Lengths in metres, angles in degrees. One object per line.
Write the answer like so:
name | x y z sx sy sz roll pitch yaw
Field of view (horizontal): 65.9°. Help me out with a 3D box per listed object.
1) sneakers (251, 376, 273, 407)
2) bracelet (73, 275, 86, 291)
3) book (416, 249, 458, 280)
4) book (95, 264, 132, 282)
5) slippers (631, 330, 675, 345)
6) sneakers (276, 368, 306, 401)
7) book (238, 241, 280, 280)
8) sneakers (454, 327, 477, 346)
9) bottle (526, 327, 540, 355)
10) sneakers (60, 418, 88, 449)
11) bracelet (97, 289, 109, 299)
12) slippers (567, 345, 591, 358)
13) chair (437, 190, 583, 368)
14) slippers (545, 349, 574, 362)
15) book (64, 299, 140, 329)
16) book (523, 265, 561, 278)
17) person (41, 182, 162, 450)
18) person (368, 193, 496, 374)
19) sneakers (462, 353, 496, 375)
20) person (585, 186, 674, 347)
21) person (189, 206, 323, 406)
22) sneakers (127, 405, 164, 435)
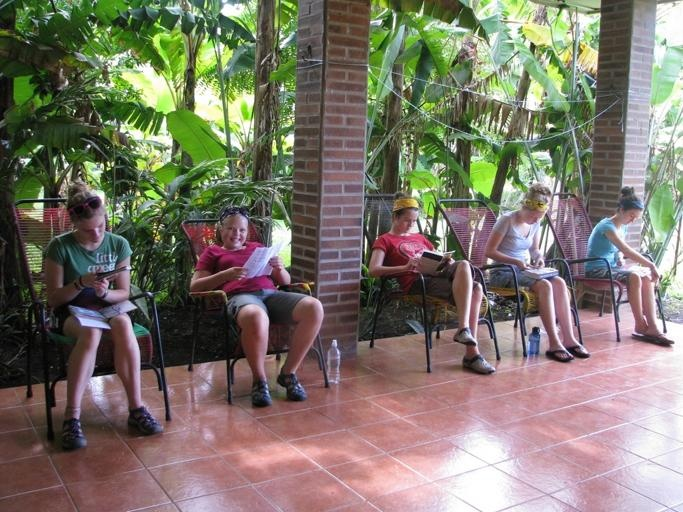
sneakers | -0.587 0.994 3.865 0.160 0.179 0.168 -2 11 -20
bracelet | -1.656 0.177 3.304 0.077 0.070 0.034 38 26 22
book | 0.783 0.066 4.447 0.225 0.192 0.201 9 13 36
book | -1.478 0.105 3.421 0.124 0.064 0.357 1 10 -2
slippers | 3.249 0.848 5.496 0.319 0.086 0.123 3 4 39
sneakers | -0.381 0.982 4.023 0.125 0.117 0.276 -3 20 -35
book | -0.609 0.044 3.906 0.283 0.331 0.438 0 11 -11
sneakers | 1.070 0.707 4.577 0.104 0.094 0.244 0 -6 -6
bottle | 1.845 0.799 5.026 0.110 0.278 0.241 6 11 20
sneakers | -1.638 1.082 3.186 0.095 0.101 0.241 0 -3 -28
bracelet | -1.548 0.245 3.384 0.066 0.030 0.075 -2 4 -24
slippers | 2.236 0.909 5.016 0.095 0.076 0.253 -4 4 -32
chair | 1.781 0.135 5.260 0.871 1.547 1.625 -3 5 -28
slippers | 2.027 0.906 4.883 0.111 0.062 0.207 -12 13 -44
book | -1.521 0.387 3.342 0.384 0.155 0.411 -5 12 -31
book | 1.910 0.163 5.017 0.365 0.076 0.194 -5 12 -35
person | -1.589 0.327 3.427 0.589 1.570 0.749 -5 12 -30
person | 0.826 0.235 4.702 1.123 1.474 0.678 5 11 16
sneakers | 1.198 0.955 4.643 0.285 0.119 0.129 4 9 40
person | 3.185 0.049 5.768 0.906 1.570 1.065 7 12 25
person | -0.644 0.344 4.050 0.983 1.391 0.638 7 12 26
sneakers | -1.290 1.065 3.457 0.283 0.132 0.112 3 4 40
